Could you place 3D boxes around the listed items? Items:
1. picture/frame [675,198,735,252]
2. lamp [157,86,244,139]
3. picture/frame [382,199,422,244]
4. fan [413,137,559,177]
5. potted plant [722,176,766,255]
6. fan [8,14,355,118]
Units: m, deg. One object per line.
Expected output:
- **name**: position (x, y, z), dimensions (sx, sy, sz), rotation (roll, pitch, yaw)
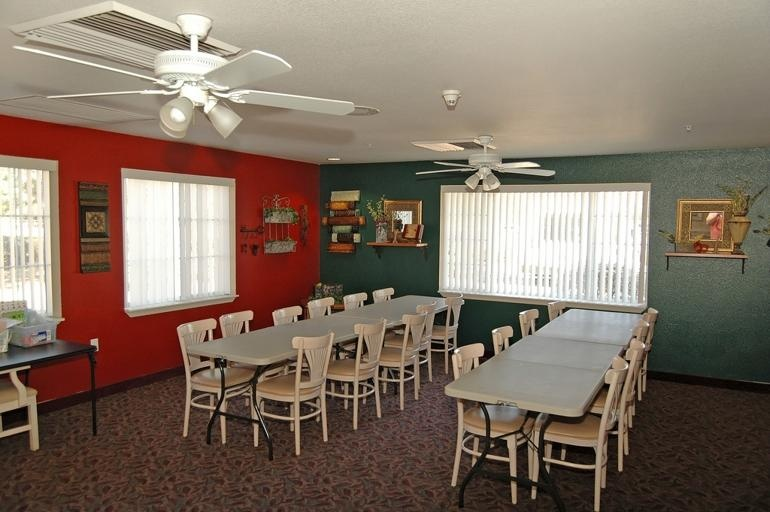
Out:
- **picture/frame**: position (4.520, -0.442, 7.523), dimensions (0.852, 0.816, 0.094), rotation (0, 2, 23)
- **lamp**: position (-1.293, -0.979, 3.857), dimensions (0.345, 0.274, 0.557), rotation (-15, 5, 9)
- **picture/frame**: position (0.326, -0.575, 9.313), dimensions (0.901, 0.888, 0.070), rotation (-1, -1, 19)
- **fan**: position (1.147, -1.246, 6.873), dimensions (1.435, 0.549, 2.058), rotation (-1, 4, 1)
- **potted plant**: position (4.887, -0.547, 7.292), dimensions (0.534, 1.016, 0.266), rotation (1, 7, 26)
- **fan**: position (-1.508, -1.328, 3.887), dimensions (2.272, 0.823, 0.938), rotation (0, 6, 22)
